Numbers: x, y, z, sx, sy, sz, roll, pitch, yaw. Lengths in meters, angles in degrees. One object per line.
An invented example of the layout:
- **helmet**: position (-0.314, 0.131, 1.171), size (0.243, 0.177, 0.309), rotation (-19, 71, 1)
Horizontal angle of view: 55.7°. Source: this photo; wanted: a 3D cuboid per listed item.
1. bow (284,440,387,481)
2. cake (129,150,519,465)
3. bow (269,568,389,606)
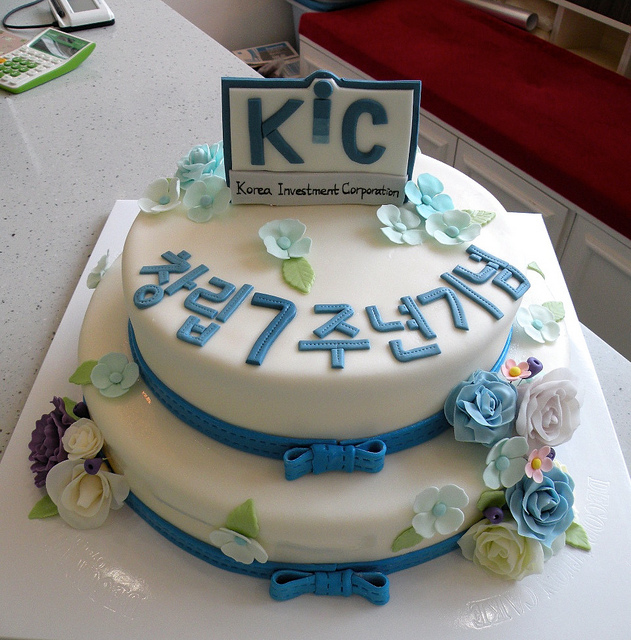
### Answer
- **bow**: position (0.027, 0.214, 0.914), size (0.151, 0.067, 0.031), rotation (-3, 48, -7)
- **cake**: position (0.052, -0.050, 1.075), size (0.742, 0.208, 0.605), rotation (-10, 49, -14)
- **bow**: position (0.023, 0.430, 0.972), size (0.194, 0.071, 0.044), rotation (3, 47, -2)
